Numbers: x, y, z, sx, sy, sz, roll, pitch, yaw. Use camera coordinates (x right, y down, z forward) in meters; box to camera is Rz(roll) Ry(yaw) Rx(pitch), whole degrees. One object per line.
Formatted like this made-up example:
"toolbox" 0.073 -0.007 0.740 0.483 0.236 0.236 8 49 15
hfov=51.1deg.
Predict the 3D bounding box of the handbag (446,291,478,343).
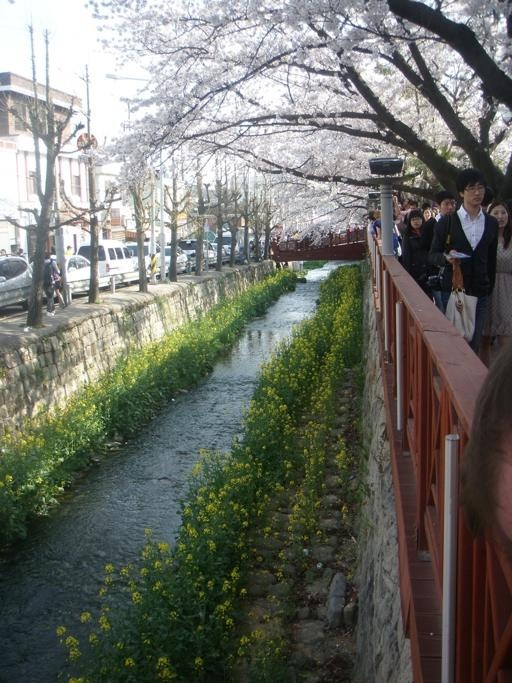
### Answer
"handbag" 1.590 -0.193 4.115 0.230 0.401 0.280 -4 9 14

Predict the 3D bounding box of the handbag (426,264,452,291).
"handbag" 1.563 -0.546 4.510 0.137 0.233 0.226 0 42 -6
